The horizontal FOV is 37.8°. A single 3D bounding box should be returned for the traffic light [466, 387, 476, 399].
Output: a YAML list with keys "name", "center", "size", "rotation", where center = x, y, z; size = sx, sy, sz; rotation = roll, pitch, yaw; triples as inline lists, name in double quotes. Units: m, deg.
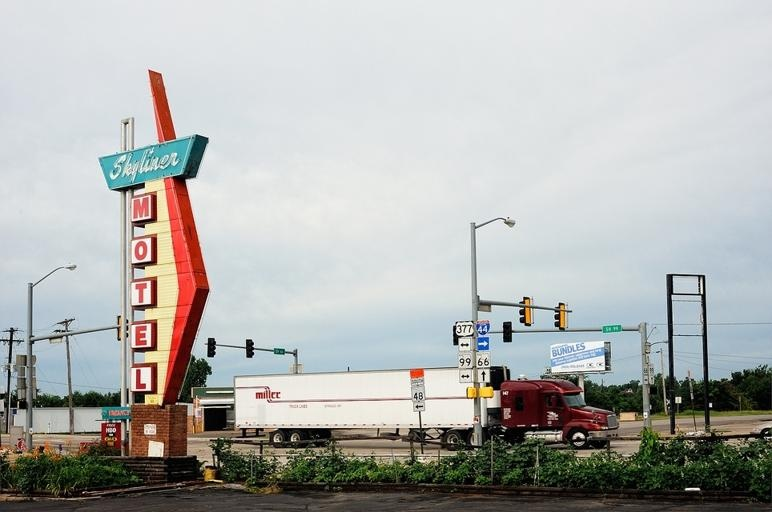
- name: "traffic light"
  center: [4.022, 6.474, 52.984]
  size: [0.411, 0.461, 0.950]
  rotation: [-2, -5, 5]

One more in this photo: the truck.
- name: "truck"
  center: [1.530, 9.309, 66.432]
  size: [23.124, 4.775, 4.056]
  rotation: [-5, -15, 23]

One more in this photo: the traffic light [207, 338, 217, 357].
- name: "traffic light"
  center: [-12.525, 6.634, 80.457]
  size: [0.460, 1.244, 0.704]
  rotation: [0, -5, -18]
